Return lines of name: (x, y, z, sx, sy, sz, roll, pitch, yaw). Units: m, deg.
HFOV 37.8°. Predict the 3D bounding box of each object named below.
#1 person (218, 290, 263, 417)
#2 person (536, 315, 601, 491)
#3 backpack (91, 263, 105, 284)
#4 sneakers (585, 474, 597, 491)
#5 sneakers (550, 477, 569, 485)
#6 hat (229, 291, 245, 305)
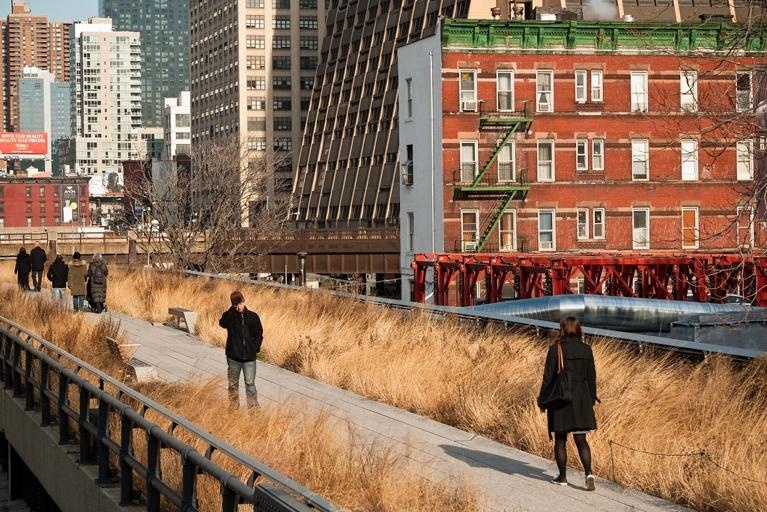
person: (-3.037, 2.022, 24.158, 0.870, 2.417, 1.143, -3, 10, -11)
person: (3.435, 2.700, 20.930, 1.106, 3.015, 0.961, 0, 10, 12)
backpack: (-9.301, 0.616, 36.603, 0.390, 0.649, 0.571, 0, -4, -17)
sneakers: (3.816, 4.132, 20.663, 0.113, 0.398, 0.159, -1, 23, -1)
sneakers: (3.269, 4.161, 20.815, 0.114, 0.140, 0.313, -2, 5, -24)
hat: (-3.187, 0.904, 24.367, 0.253, 0.333, 0.300, 6, 9, -4)
